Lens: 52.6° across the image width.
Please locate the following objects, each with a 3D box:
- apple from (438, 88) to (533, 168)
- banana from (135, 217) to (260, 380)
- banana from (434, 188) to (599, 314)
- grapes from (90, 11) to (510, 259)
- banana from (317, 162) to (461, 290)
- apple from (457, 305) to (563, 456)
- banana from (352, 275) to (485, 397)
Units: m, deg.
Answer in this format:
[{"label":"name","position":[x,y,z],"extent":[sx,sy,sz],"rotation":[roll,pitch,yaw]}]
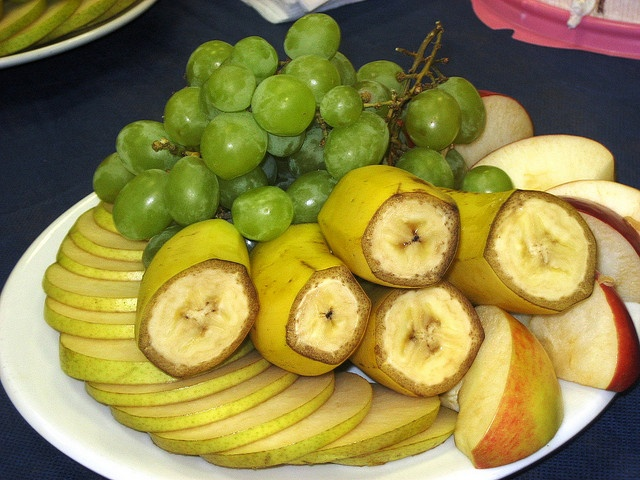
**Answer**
[{"label":"apple","position":[0.365,-0.230,1.391],"extent":[0.161,0.165,0.109],"rotation":[3,62,15]},{"label":"banana","position":[-0.191,0.078,1.031],"extent":[0.178,0.060,0.225],"rotation":[29,88,-19]},{"label":"banana","position":[0.327,0.024,1.055],"extent":[0.280,0.166,0.160],"rotation":[17,72,9]},{"label":"grapes","position":[-0.024,-0.171,1.194],"extent":[0.712,0.327,0.376],"rotation":[-13,33,-8]},{"label":"banana","position":[0.094,-0.025,1.032],"extent":[0.191,0.132,0.154],"rotation":[21,59,25]},{"label":"apple","position":[0.306,0.270,1.110],"extent":[0.173,0.199,0.284],"rotation":[-2,55,15]},{"label":"banana","position":[0.170,0.160,1.079],"extent":[0.207,0.075,0.184],"rotation":[10,78,-22]}]
